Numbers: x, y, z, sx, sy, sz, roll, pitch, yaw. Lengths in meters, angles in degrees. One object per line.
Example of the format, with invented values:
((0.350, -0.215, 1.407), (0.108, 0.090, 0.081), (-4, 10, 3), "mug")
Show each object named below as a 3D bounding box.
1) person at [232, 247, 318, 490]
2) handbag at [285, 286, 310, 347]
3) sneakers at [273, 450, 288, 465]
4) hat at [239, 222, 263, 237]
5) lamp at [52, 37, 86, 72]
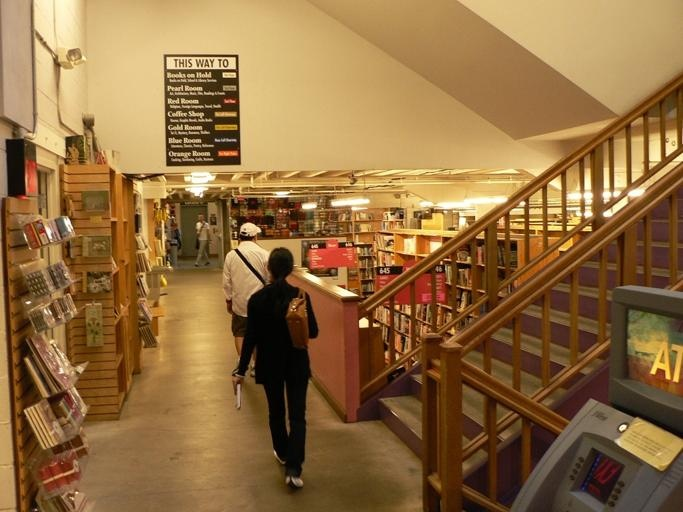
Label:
((-0.466, 0.843, 3.918), (0.615, 1.799, 0.410), (1, 4, 26), "person")
((-0.323, 0.452, 3.698), (0.157, 0.458, 0.341), (-1, 14, 6), "handbag")
((-0.512, 1.673, 4.215), (0.128, 0.059, 0.152), (5, -15, 46), "sneakers")
((-1.052, -0.307, 6.065), (0.207, 0.122, 0.314), (2, 12, 8), "hat")
((-2.646, -1.974, 5.003), (0.316, 0.166, 0.329), (-10, -15, -19), "lamp")
